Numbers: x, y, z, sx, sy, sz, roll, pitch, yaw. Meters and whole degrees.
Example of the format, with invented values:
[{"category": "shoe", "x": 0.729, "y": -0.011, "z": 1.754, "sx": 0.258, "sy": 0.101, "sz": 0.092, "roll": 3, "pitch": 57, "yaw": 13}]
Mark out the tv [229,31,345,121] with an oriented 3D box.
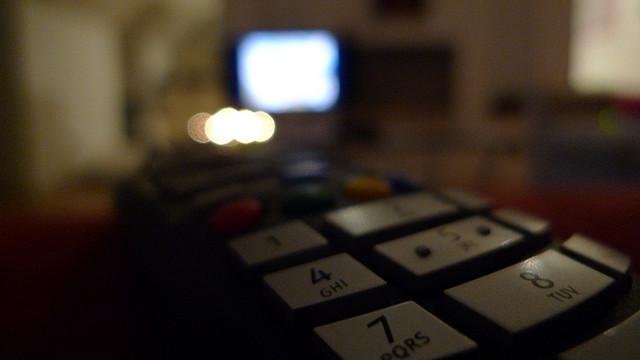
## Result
[{"category": "tv", "x": -0.066, "y": -0.236, "z": 1.026, "sx": 0.236, "sy": 0.202, "sz": 0.117, "roll": -4, "pitch": 40, "yaw": -12}]
